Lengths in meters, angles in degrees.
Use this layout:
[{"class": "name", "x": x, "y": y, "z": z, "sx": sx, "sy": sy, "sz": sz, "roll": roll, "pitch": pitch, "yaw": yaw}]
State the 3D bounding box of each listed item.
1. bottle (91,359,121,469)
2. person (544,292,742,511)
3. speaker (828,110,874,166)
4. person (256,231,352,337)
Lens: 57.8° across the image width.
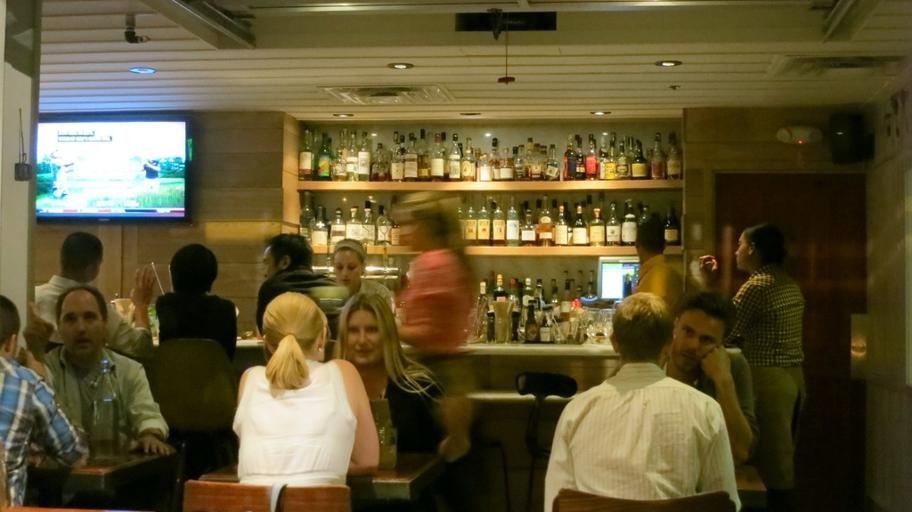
[{"class": "bottle", "x": -2.149, "y": 0.935, "z": 5.044, "sx": 0.152, "sy": 0.575, "sz": 0.158, "roll": -1, "pitch": -2, "yaw": 0}, {"class": "person", "x": 0.976, "y": 0.794, "z": 4.452, "sx": 1.003, "sy": 1.178, "sz": 0.358, "roll": -1, "pitch": -2, "yaw": 15}, {"class": "speaker", "x": 3.550, "y": -1.090, "z": 7.456, "sx": 0.371, "sy": 0.466, "sz": 0.116, "roll": 0, "pitch": -2, "yaw": -2}, {"class": "person", "x": -1.197, "y": 0.155, "z": 6.108, "sx": 0.788, "sy": 0.795, "sz": 0.847, "roll": 2, "pitch": 2, "yaw": 41}]
